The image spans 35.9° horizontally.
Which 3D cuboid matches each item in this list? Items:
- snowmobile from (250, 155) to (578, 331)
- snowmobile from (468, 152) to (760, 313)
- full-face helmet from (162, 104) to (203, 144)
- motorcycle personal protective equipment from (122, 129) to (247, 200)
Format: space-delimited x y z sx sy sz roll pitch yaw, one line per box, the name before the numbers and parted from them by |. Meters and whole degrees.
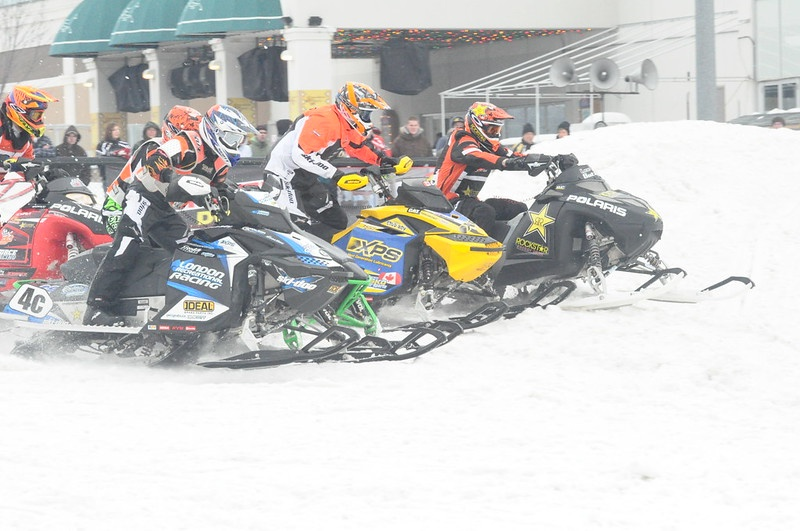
snowmobile | -0.134 -0.229 15.550 7.213 1.865 2.386 -2 2 12
snowmobile | 1.760 -0.297 16.716 4.587 1.514 1.522 -2 2 24
full-face helmet | -2.869 -1.900 16.760 0.676 0.435 0.455 7 6 6
motorcycle personal protective equipment | -2.667 -1.178 14.106 1.189 0.420 1.417 0 5 23
